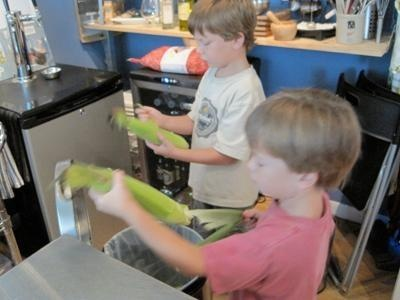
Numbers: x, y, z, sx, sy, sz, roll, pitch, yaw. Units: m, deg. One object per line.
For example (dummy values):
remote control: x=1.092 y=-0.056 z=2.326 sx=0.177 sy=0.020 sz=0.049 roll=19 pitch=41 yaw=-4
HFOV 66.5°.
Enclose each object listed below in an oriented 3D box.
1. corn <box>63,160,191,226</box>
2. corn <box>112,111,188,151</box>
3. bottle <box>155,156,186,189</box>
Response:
corn: x=-0.186 y=0.134 z=0.974 sx=0.442 sy=0.129 sz=0.162 roll=20 pitch=33 yaw=-24
corn: x=-0.263 y=-0.106 z=1.604 sx=0.439 sy=0.145 sz=0.116 roll=17 pitch=-9 yaw=-19
bottle: x=-0.256 y=0.189 z=2.587 sx=0.183 sy=0.268 sz=0.207 roll=16 pitch=29 yaw=30
